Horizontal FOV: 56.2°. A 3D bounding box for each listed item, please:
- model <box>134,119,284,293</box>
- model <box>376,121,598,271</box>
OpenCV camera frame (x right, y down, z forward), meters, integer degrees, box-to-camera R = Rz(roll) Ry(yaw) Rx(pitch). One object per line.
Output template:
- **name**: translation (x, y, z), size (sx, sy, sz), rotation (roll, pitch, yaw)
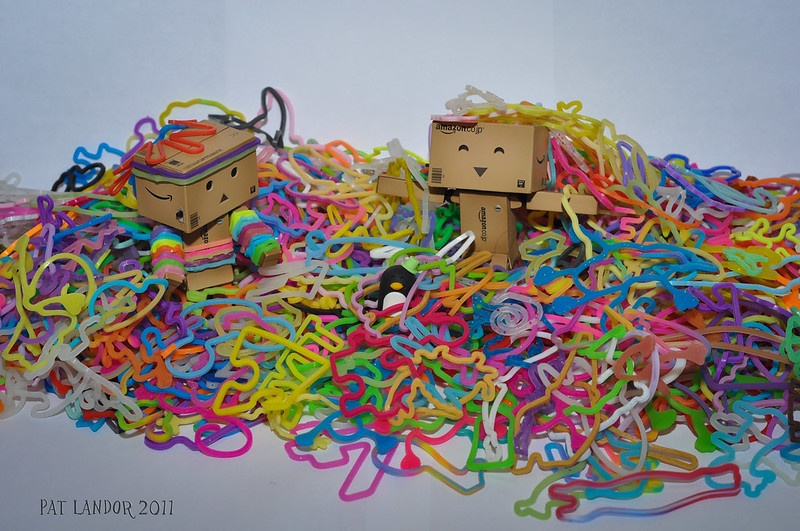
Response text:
- **model**: translation (-0.747, -0.211, 2.859), size (0.408, 0.476, 0.569), rotation (25, -57, 31)
- **model**: translation (0.345, -0.260, 2.931), size (0.819, 0.569, 0.286), rotation (5, 7, 15)
